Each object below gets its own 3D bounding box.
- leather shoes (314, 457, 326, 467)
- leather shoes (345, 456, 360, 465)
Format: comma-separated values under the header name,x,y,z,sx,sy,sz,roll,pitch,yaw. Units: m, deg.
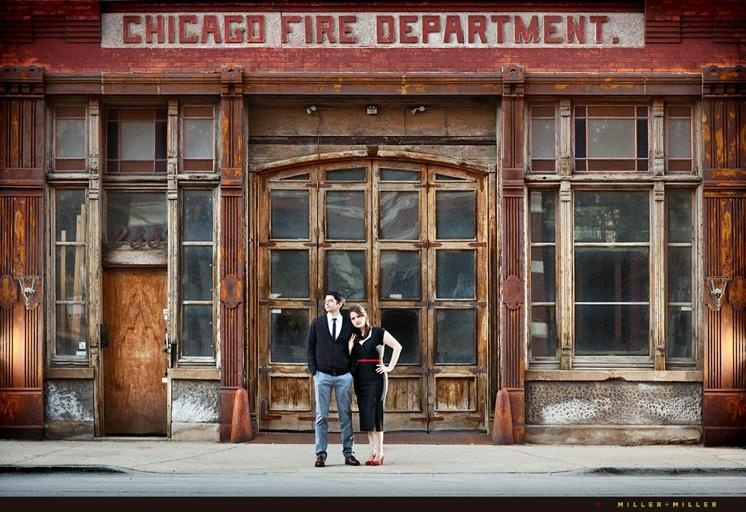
name,x,y,z,sx,sy,sz,roll,pitch,yaw
leather shoes,-0.879,3.394,27.387,0.174,0.181,0.267,0,-3,-2
leather shoes,-0.325,3.378,27.373,0.263,0.153,0.264,0,-3,-3
